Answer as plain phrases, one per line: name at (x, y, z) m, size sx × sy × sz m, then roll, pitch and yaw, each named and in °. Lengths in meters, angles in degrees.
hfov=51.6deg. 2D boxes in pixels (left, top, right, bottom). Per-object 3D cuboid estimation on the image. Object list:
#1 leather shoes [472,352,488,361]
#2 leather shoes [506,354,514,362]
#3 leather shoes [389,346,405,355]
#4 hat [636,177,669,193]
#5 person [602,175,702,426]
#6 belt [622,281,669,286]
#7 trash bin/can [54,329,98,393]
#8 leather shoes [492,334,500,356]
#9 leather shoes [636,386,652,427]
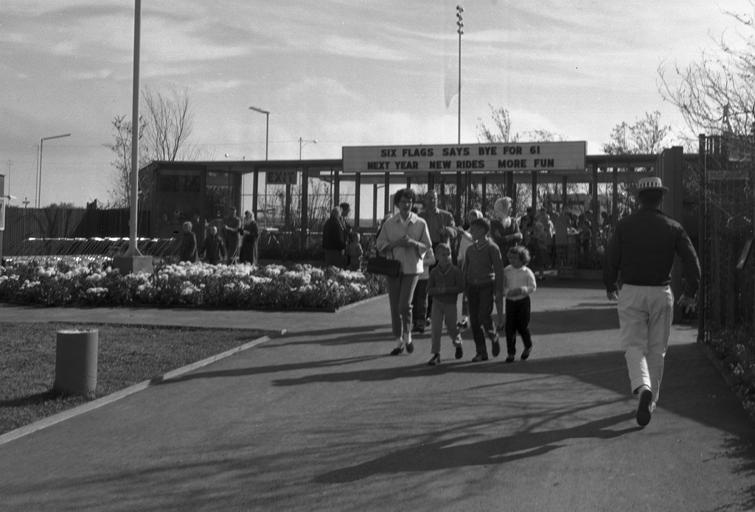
leather shoes at (1.513, 1.472, 11.443) m, size 0.221 × 0.119 × 0.101 m, roll 2°, pitch 4°, yaw -5°
leather shoes at (1.935, 1.480, 11.333) m, size 0.144 × 0.103 × 0.216 m, roll 1°, pitch 3°, yaw 5°
leather shoes at (0.322, 1.447, 11.956) m, size 0.195 × 0.102 × 0.088 m, roll -1°, pitch 4°, yaw -27°
hat at (3.082, -0.811, 8.898) m, size 0.308 × 0.142 × 0.409 m, roll -1°, pitch -3°, yaw 1°
person at (2.999, 0.462, 8.513) m, size 0.892 × 2.623 × 0.995 m, roll 0°, pitch 2°, yaw -4°
belt at (2.918, 0.299, 8.473) m, size 0.472 × 0.071 × 0.092 m, roll 2°, pitch 3°, yaw 14°
trash bin/can at (-3.689, 1.302, 9.528) m, size 0.510 × 0.733 × 0.478 m, roll 0°, pitch 3°, yaw -23°
leather shoes at (1.761, 1.343, 11.552) m, size 0.097 × 0.374 × 0.132 m, roll 3°, pitch -5°, yaw 17°
leather shoes at (2.749, 1.552, 8.110) m, size 0.148 × 0.452 × 0.168 m, roll 3°, pitch -6°, yaw -3°
